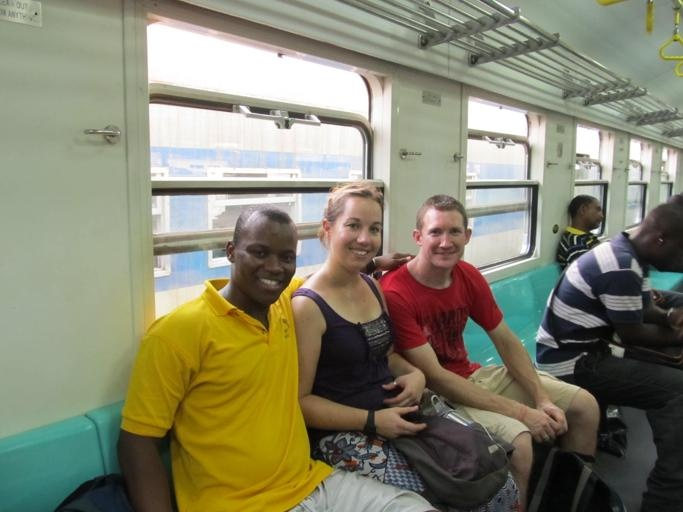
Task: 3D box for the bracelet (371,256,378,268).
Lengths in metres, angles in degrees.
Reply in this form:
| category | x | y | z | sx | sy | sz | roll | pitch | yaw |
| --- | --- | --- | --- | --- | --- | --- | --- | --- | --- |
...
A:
| category | x | y | z | sx | sy | sz | roll | pitch | yaw |
| --- | --- | --- | --- | --- | --- | --- | --- | --- | --- |
| bracelet | 0.185 | 0.025 | 2.865 | 0.054 | 0.051 | 0.047 | 0 | -2 | 0 |

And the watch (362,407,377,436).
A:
| category | x | y | z | sx | sy | sz | roll | pitch | yaw |
| --- | --- | --- | --- | --- | --- | --- | --- | --- | --- |
| watch | 0.111 | 0.756 | 2.164 | 0.068 | 0.105 | 0.096 | 2 | 46 | -2 |

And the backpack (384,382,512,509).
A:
| category | x | y | z | sx | sy | sz | roll | pitch | yaw |
| --- | --- | --- | --- | --- | --- | --- | --- | --- | --- |
| backpack | 0.482 | 0.819 | 2.068 | 0.369 | 0.138 | 0.379 | 23 | 22 | 34 |

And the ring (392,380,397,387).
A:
| category | x | y | z | sx | sy | sz | roll | pitch | yaw |
| --- | --- | --- | --- | --- | --- | --- | --- | --- | --- |
| ring | 0.258 | 0.629 | 2.342 | 0.027 | 0.007 | 0.027 | 7 | 23 | -3 |
